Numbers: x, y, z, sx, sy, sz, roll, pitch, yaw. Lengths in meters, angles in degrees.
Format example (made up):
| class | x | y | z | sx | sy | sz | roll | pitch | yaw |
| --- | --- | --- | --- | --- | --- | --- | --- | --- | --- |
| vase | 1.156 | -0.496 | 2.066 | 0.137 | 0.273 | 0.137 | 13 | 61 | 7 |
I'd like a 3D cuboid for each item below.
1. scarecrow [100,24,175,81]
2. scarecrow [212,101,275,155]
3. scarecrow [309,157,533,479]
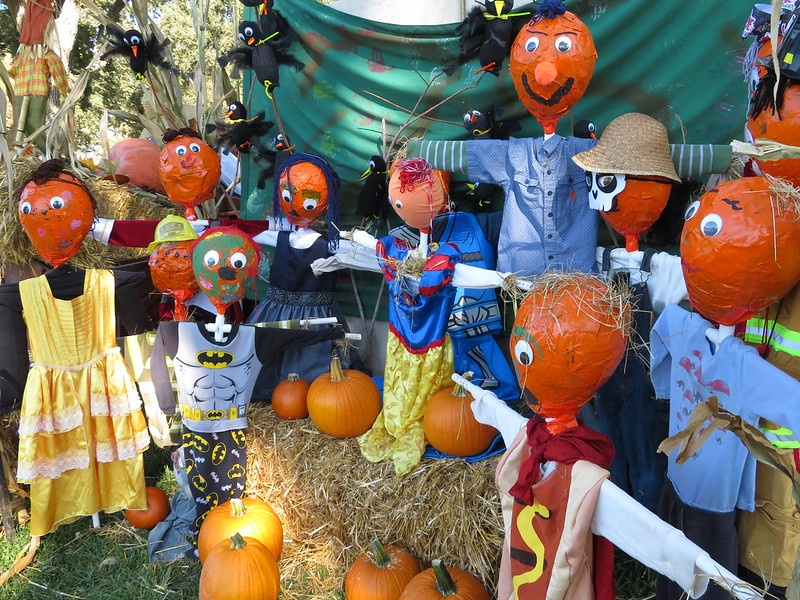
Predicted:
| class | x | y | z | sx | sy | sz | roll | pitch | yaw |
| --- | --- | --- | --- | --- | --- | --- | --- | --- | --- |
| scarecrow | -1.725 | -1.629 | 5.077 | 0.436 | 0.133 | 0.340 | 1 | 100 | -2 |
| scarecrow | -1.089 | -1.189 | 5.235 | 0.477 | 0.230 | 0.368 | -16 | 100 | -4 |
| scarecrow | -0.184 | -0.097 | 5.008 | 1.677 | 1.414 | 2.042 | 7 | 105 | 33 |
